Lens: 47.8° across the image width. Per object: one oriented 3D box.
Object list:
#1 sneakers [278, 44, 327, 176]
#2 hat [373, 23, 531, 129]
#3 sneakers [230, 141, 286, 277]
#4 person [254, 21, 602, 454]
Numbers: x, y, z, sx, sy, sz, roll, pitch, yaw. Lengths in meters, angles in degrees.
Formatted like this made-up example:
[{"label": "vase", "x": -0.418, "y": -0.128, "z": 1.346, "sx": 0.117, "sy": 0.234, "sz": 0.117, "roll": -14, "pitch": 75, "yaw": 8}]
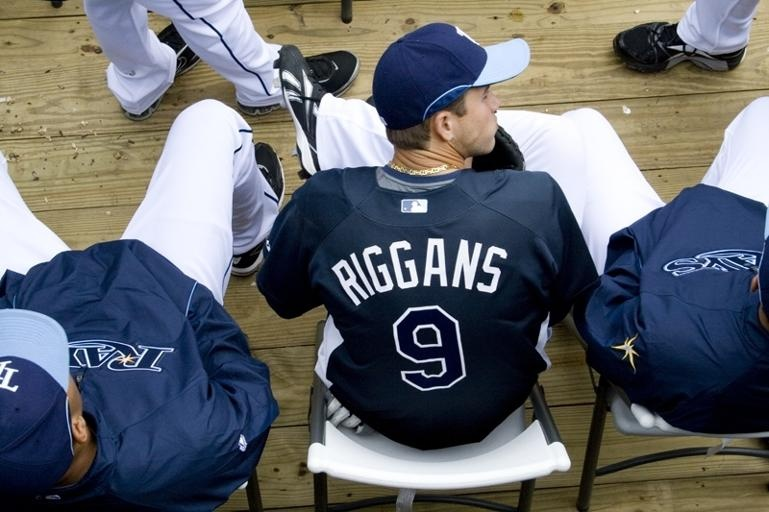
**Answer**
[{"label": "sneakers", "x": -0.304, "y": -0.564, "z": 3.352, "sx": 0.163, "sy": 0.206, "sz": 0.527, "roll": -13, "pitch": 98, "yaw": -2}, {"label": "hat", "x": 0.214, "y": -0.618, "z": 2.929, "sx": 0.487, "sy": 0.239, "sz": 0.305, "roll": -33, "pitch": 31, "yaw": 9}, {"label": "sneakers", "x": -0.519, "y": -0.223, "z": 3.908, "sx": 0.209, "sy": 0.247, "sz": 0.617, "roll": 11, "pitch": 78, "yaw": 5}, {"label": "person", "x": 0.117, "y": -0.054, "z": 2.892, "sx": 1.043, "sy": 0.784, "sz": 1.169, "roll": -21, "pitch": 59, "yaw": -8}]
